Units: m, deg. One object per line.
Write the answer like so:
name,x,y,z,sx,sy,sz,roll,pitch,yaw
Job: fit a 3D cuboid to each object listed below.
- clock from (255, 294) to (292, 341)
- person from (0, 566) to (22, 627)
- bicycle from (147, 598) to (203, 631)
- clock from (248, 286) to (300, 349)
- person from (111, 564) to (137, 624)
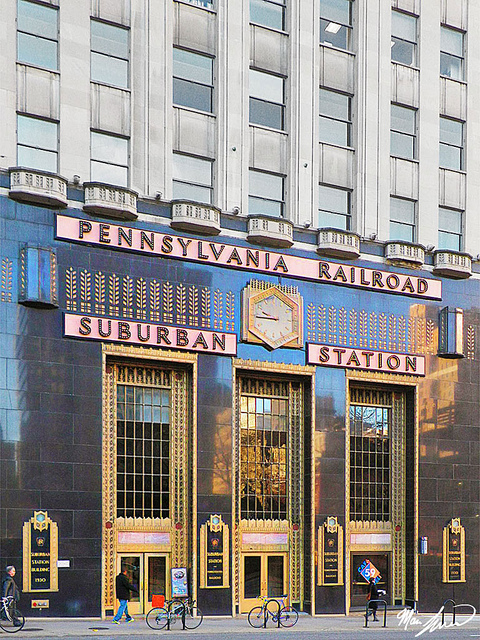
clock,1.049,0.022,81.407,1.287,1.630,0.092,4,-9,-34
person,-7.603,9.275,73.973,0.558,2.036,0.963,-6,-19,-3
bicycle,-2.276,10.124,75.920,1.644,1.282,0.949,-2,-6,-8
clock,1.054,0.046,81.417,1.740,2.215,0.106,3,-7,-32
person,-4.008,9.491,76.034,0.723,1.850,1.027,-1,-9,-4
